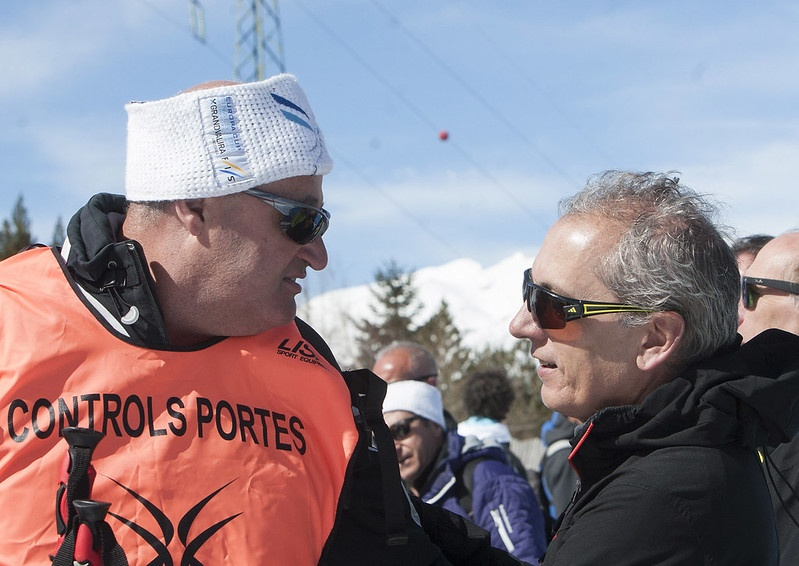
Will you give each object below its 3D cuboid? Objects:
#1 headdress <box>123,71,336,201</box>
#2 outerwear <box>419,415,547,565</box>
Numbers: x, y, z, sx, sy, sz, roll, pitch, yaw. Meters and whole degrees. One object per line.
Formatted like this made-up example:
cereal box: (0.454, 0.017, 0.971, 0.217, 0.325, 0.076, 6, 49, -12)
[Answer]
headdress: (-0.665, -0.515, 5.105, 0.880, 0.456, 0.694, -12, 0, 4)
outerwear: (0.411, 1.090, 7.072, 0.272, 0.627, 0.667, -6, 18, -39)
